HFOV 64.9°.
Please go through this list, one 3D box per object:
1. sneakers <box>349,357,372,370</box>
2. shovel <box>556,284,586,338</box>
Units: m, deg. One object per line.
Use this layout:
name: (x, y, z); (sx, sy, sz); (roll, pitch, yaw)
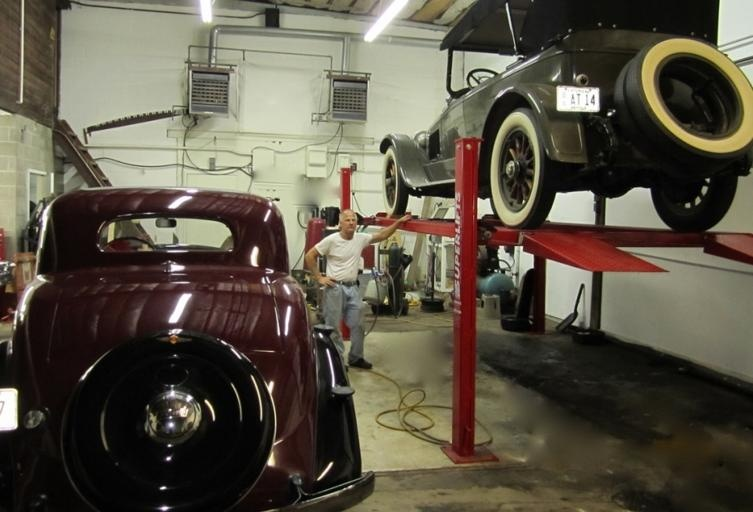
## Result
sneakers: (-0.185, 1.226, 6.792); (0.311, 0.172, 0.112); (0, -4, 4)
shovel: (2.771, 0.717, 8.469); (0.297, 0.656, 0.533); (7, 13, 39)
